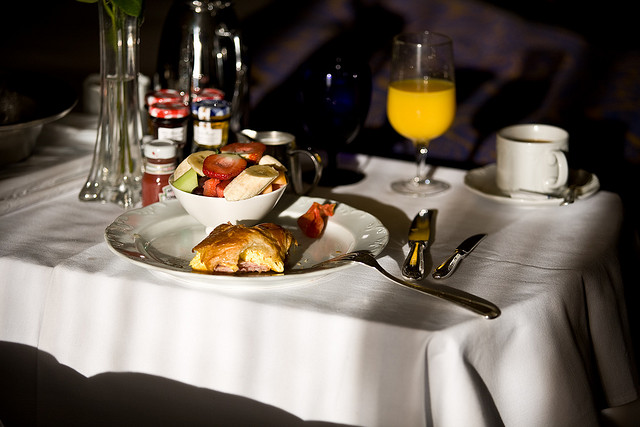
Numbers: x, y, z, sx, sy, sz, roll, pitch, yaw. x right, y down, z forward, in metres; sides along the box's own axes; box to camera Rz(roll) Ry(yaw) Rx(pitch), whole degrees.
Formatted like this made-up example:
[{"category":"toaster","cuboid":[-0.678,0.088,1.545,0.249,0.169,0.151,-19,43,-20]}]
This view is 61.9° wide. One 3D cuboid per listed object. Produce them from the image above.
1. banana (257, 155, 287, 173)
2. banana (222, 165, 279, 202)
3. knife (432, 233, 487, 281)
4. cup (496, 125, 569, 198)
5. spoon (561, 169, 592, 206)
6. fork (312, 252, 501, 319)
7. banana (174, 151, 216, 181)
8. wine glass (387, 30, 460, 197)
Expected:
[{"category":"banana","cuboid":[-0.072,-0.076,0.811,0.036,0.012,0.026,35,50,-7]},{"category":"banana","cuboid":[-0.099,-0.041,0.758,0.080,0.019,0.040,-30,74,-8]},{"category":"knife","cuboid":[0.206,0.062,0.763,0.031,0.019,0.223,20,23,22]},{"category":"cup","cuboid":[0.375,-0.087,0.936,0.119,0.095,0.147,-2,20,-12]},{"category":"spoon","cuboid":[0.470,-0.054,0.993,0.042,0.023,0.158,8,21,25]},{"category":"fork","cuboid":[0.116,0.089,0.692,0.236,0.029,0.045,15,27,16]},{"category":"banana","cuboid":[-0.191,-0.069,0.809,0.050,0.012,0.047,-19,37,27]},{"category":"wine glass","cuboid":[0.222,-0.186,1.071,0.131,0.334,0.132,-12,21,-25]}]
